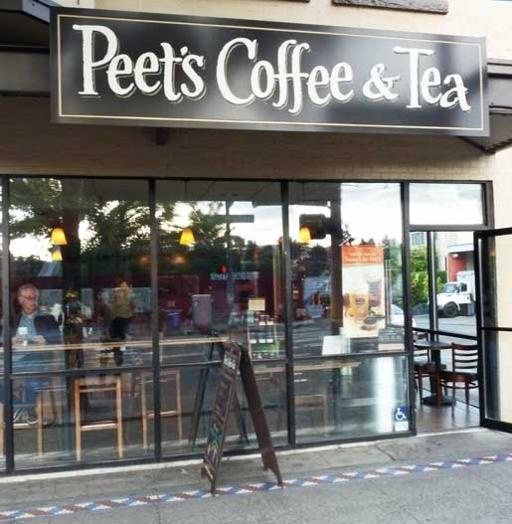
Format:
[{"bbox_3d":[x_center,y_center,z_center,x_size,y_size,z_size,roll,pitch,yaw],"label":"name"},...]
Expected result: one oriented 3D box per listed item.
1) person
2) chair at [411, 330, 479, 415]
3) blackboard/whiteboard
[{"bbox_3d":[-2.192,0.913,6.594,0.460,1.370,0.117,-2,3,-18],"label":"person"},{"bbox_3d":[2.719,1.542,9.476,0.880,1.186,1.402,1,-3,-6],"label":"chair"},{"bbox_3d":[-0.337,1.433,6.185,0.379,1.292,0.707,-1,3,-6],"label":"blackboard/whiteboard"}]
